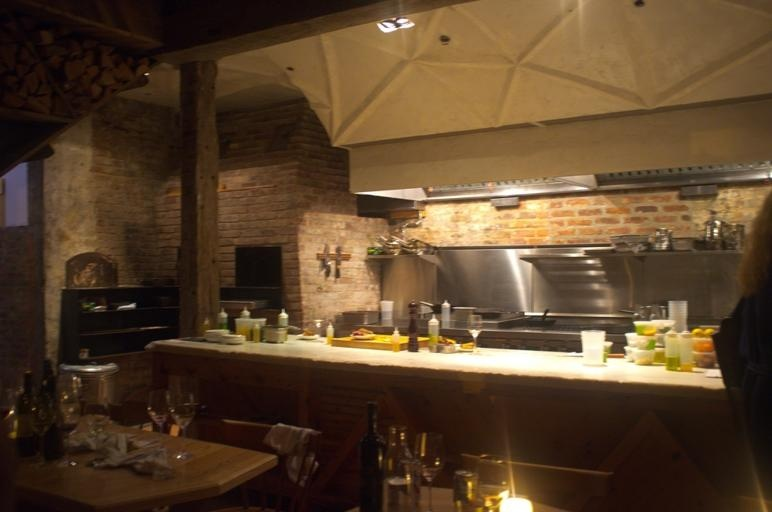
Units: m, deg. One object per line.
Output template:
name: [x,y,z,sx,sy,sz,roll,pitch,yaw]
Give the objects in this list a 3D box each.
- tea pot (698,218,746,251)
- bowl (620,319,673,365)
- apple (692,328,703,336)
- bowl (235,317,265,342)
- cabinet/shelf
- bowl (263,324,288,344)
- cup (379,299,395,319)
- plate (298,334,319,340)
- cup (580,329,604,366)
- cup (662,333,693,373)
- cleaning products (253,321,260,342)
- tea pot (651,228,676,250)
tea pot: [3.527,-0.229,6.061,0.476,0.315,0.360,-3,-4,34]
bowl: [1.926,0.631,4.316,0.389,0.254,0.363,0,-3,0]
apple: [2.265,0.554,4.223,0.063,0.051,0.114,-15,-6,25]
bowl: [-1.296,0.699,5.530,0.290,0.146,0.242,0,-1,14]
cabinet/shelf: [-3.732,0.900,7.865,1.520,0.690,0.445,4,-11,-45]
bowl: [-1.030,0.724,5.362,0.219,0.151,0.213,-1,-3,0]
cup: [0.005,0.689,7.326,0.141,0.214,0.203,-1,-3,-5]
plate: [-0.763,0.785,5.650,0.220,0.056,0.249,0,-3,-8]
cup: [1.503,0.658,4.188,0.157,0.236,0.201,-2,-4,16]
cup: [2.006,0.652,3.963,0.166,0.257,0.100,-3,-4,20]
cleaning products: [-1.218,0.709,5.437,0.071,0.170,0.096,-1,-4,-12]
tea pot: [3.012,-0.183,6.296,0.193,0.242,0.130,-3,-4,20]
